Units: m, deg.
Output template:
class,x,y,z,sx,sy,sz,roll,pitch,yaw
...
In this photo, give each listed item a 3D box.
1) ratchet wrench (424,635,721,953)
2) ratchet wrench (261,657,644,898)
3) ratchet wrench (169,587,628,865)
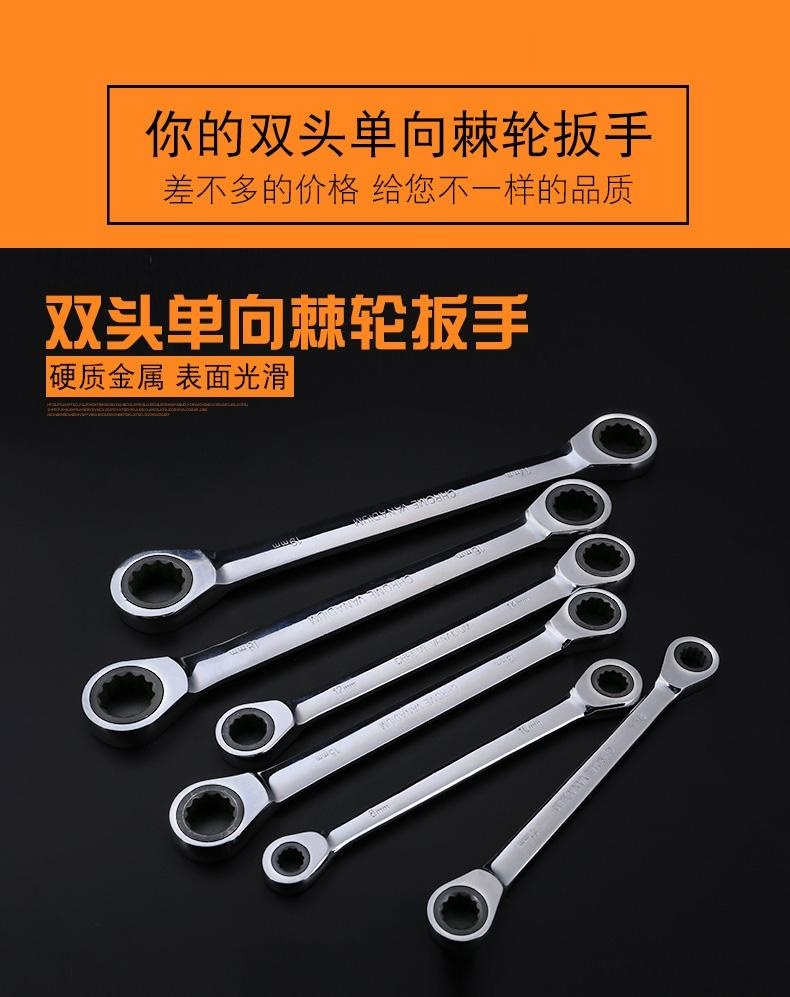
class,x,y,z,sx,sy,sz,roll,pitch,yaw
ratchet wrench,0.234,0.412,1.334,0.075,0.552,0.042,34,-36,26
ratchet wrench,0.073,0.386,1.328,0.586,0.080,0.045,-22,-46,-26
ratchet wrench,0.042,0.280,1.567,0.668,0.097,0.048,-19,-45,3
